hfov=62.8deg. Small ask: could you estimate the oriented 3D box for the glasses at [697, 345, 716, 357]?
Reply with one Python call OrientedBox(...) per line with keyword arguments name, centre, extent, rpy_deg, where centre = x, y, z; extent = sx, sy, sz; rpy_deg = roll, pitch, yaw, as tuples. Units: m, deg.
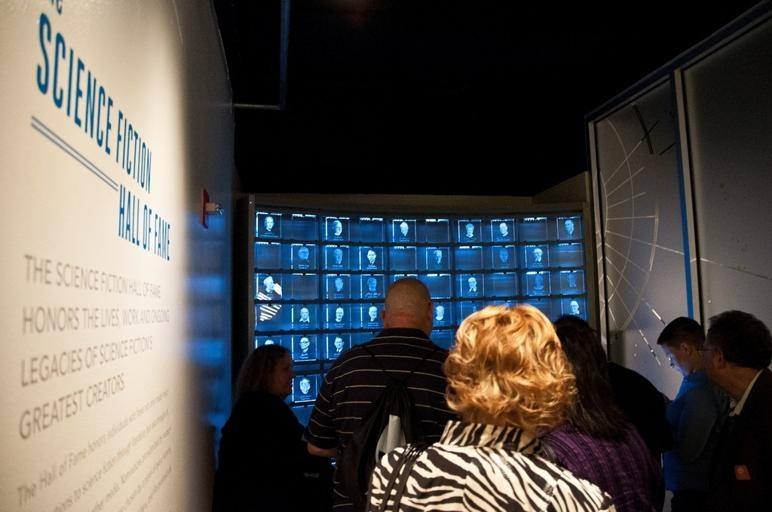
OrientedBox(name="glasses", centre=(1.918, 0.564, 3.790), extent=(0.102, 0.033, 0.103), rpy_deg=(3, -9, 5))
